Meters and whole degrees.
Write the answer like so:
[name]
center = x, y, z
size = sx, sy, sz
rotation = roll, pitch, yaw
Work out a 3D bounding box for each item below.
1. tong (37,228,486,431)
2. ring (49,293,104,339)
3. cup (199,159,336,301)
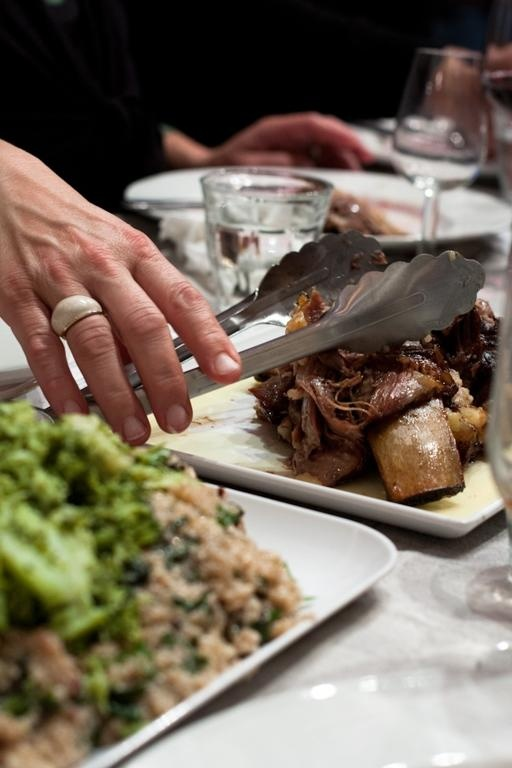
[tong]
center = 0.057, -0.065, 0.794
size = 0.594, 0.166, 0.151
rotation = -24, 34, 3
[ring]
center = -0.180, -0.070, 0.660
size = 0.051, 0.041, 0.026
rotation = -12, 20, -42
[cup]
center = 0.010, -0.308, 1.361
size = 0.275, 0.291, 0.276
rotation = 7, 26, -3
